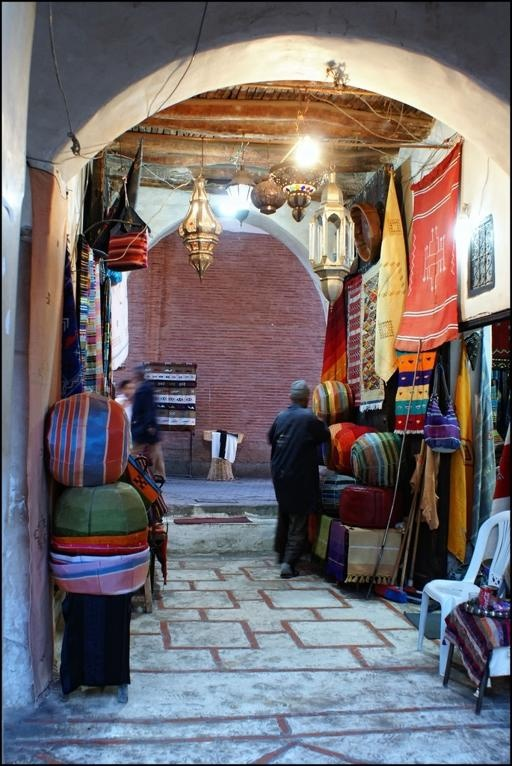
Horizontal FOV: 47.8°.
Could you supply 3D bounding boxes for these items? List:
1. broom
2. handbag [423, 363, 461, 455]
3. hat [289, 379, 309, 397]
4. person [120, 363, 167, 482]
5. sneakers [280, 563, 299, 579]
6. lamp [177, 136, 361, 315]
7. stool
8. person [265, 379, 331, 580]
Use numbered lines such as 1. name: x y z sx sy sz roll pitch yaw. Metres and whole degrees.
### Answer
1. broom: 1.109 1.124 4.634 0.416 1.179 0.398 0 -6 12
2. handbag: 1.414 0.193 4.392 0.255 0.710 0.296 -1 -6 24
3. hat: 0.428 0.066 5.622 0.124 0.168 0.184 0 0 0
4. person: -1.154 0.390 5.937 0.467 1.123 0.546 3 -6 -14
5. sneakers: 0.302 1.661 5.060 0.181 0.123 0.139 4 -7 -17
6. lamp: 0.131 -1.547 5.083 1.333 1.936 1.651 1 -6 6
7. stool: 1.045 1.233 2.685 0.224 0.493 0.488 2 -6 -5
8. person: 0.396 0.867 5.416 0.480 1.784 0.564 3 -6 -14
